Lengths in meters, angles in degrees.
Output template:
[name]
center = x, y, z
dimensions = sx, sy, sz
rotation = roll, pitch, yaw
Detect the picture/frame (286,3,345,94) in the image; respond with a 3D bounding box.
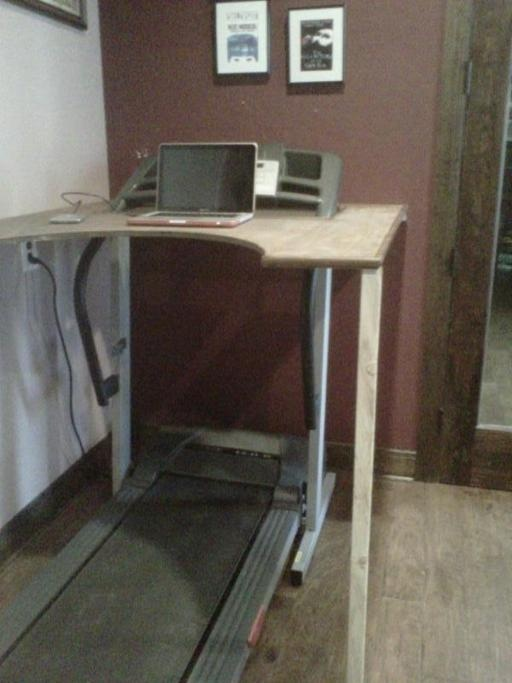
[picture/frame]
center = 0.187, -0.914, 1.801
dimensions = 0.171, 0.275, 0.030
rotation = 5, 24, 15

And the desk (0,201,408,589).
[desk]
center = -0.018, -0.077, 1.400
dimensions = 0.767, 0.885, 0.967
rotation = 4, 16, 14
